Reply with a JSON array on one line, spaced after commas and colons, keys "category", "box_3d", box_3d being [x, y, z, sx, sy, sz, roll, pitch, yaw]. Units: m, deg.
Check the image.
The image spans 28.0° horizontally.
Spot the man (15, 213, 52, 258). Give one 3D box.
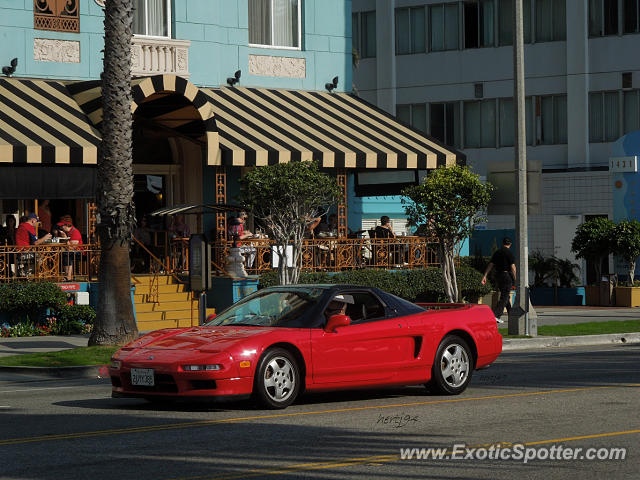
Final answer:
[{"category": "man", "box_3d": [-7.331, -0.054, 32.529, 0.717, 1.320, 0.649, 9, -3, -37]}]

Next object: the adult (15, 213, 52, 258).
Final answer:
[{"category": "adult", "box_3d": [-7.308, -0.077, 32.556, 0.717, 1.292, 0.685, 8, 2, -9]}]

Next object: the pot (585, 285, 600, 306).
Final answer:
[{"category": "pot", "box_3d": [8.839, 1.782, 41.643, 0.487, 0.682, 0.644, 4, -6, -28]}]

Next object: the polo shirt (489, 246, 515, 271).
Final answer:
[{"category": "polo shirt", "box_3d": [4.852, 0.478, 34.318, 0.613, 0.632, 0.269, 9, 17, 38]}]

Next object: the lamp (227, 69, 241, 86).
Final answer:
[{"category": "lamp", "box_3d": [-2.559, -4.960, 38.277, 0.407, 0.580, 0.406, 2, 2, 8]}]

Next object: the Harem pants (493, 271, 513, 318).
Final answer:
[{"category": "Harem pants", "box_3d": [4.824, 1.343, 33.677, 0.402, 1.204, 0.652, 7, 21, 28]}]

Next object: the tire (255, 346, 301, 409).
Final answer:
[{"category": "tire", "box_3d": [-0.748, 2.351, 21.851, 0.843, 1.012, 0.141, -4, 8, -31]}]

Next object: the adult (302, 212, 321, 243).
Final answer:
[{"category": "adult", "box_3d": [-0.189, -0.473, 36.101, 0.620, 0.682, 0.568, 5, -4, -33]}]

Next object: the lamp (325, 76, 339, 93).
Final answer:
[{"category": "lamp", "box_3d": [0.460, -5.041, 40.656, 0.471, 0.615, 0.344, 9, 10, 38]}]

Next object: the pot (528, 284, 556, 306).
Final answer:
[{"category": "pot", "box_3d": [7.551, 1.849, 43.406, 0.701, 0.685, 1.556, -1, 8, -6]}]

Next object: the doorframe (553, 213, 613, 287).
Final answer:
[{"category": "doorframe", "box_3d": [9.211, 0.320, 44.741, 2.391, 3.519, 0.607, 1, 1, 34]}]

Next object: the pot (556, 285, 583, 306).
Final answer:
[{"category": "pot", "box_3d": [8.313, 1.830, 42.687, 0.600, 0.510, 0.652, 1, -5, 0]}]

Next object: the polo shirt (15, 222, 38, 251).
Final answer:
[{"category": "polo shirt", "box_3d": [-7.386, -0.163, 32.257, 0.600, 0.604, 0.492, -4, 9, -32]}]

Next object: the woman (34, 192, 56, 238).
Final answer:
[{"category": "woman", "box_3d": [-7.775, -0.423, 36.267, 0.306, 1.826, 0.604, -11, -13, 24]}]

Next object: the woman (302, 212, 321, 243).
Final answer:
[{"category": "woman", "box_3d": [-0.184, -0.470, 36.037, 0.620, 0.682, 0.568, 5, -4, -33]}]

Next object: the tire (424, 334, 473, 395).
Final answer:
[{"category": "tire", "box_3d": [2.360, 2.286, 23.473, 0.947, 1.075, 0.347, 9, -9, -37]}]
